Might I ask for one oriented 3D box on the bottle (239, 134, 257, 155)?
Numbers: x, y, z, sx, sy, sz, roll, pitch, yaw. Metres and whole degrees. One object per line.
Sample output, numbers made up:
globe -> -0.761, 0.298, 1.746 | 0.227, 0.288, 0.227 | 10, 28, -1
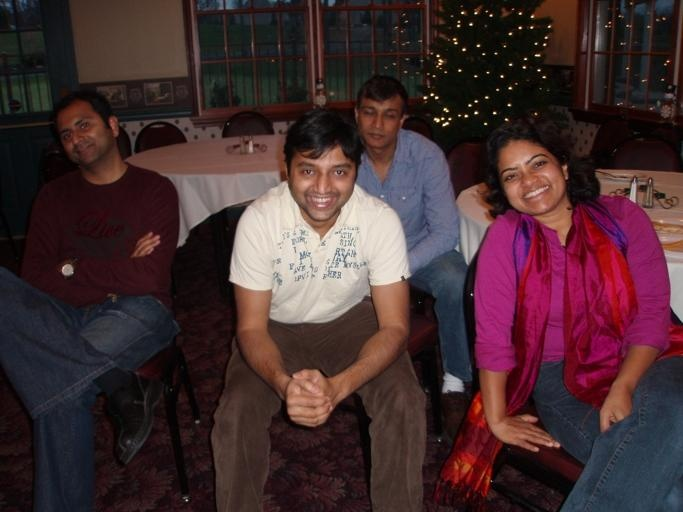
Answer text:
bottle -> -0.775, -0.920, 4.395 | 0.102, 0.207, 0.188 | 0, 1, 0

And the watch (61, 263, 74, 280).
watch -> -1.179, 0.060, 2.261 | 0.053, 0.061, 0.013 | 0, -2, -12
